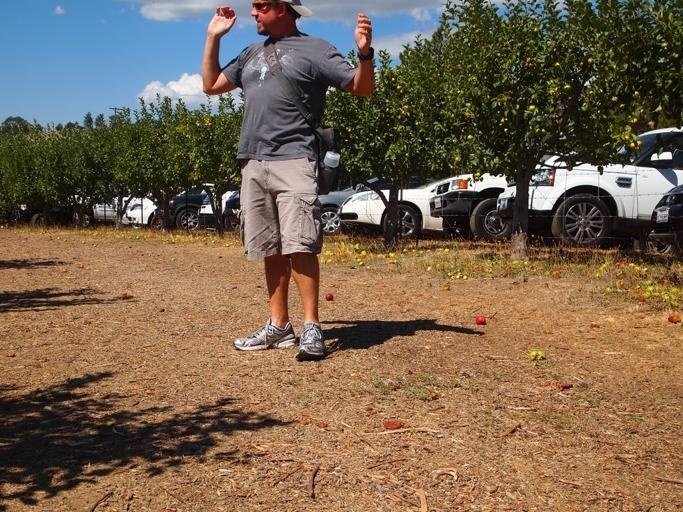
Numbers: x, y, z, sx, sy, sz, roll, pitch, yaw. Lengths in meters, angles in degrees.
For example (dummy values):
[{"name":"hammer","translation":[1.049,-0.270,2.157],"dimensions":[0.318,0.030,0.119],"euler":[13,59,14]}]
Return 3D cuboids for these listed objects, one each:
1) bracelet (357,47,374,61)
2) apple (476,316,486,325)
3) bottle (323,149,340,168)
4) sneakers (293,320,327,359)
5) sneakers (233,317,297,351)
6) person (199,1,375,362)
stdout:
[{"name":"bracelet","translation":[0.170,-1.491,4.624],"dimensions":[0.125,0.085,0.080],"euler":[3,10,21]},{"name":"apple","translation":[1.380,0.637,6.195],"dimensions":[0.084,0.089,0.085],"euler":[2,-17,13]},{"name":"bottle","translation":[-0.082,-0.764,4.939],"dimensions":[0.129,0.126,0.094],"euler":[-2,9,-9]},{"name":"sneakers","translation":[-0.237,0.657,5.030],"dimensions":[0.200,0.221,0.505],"euler":[-1,8,9]},{"name":"sneakers","translation":[-0.636,0.676,5.280],"dimensions":[0.557,0.274,0.221],"euler":[0,-3,-9]},{"name":"person","translation":[-0.453,-0.596,4.996],"dimensions":[1.461,2.840,0.549],"euler":[2,9,16]}]
